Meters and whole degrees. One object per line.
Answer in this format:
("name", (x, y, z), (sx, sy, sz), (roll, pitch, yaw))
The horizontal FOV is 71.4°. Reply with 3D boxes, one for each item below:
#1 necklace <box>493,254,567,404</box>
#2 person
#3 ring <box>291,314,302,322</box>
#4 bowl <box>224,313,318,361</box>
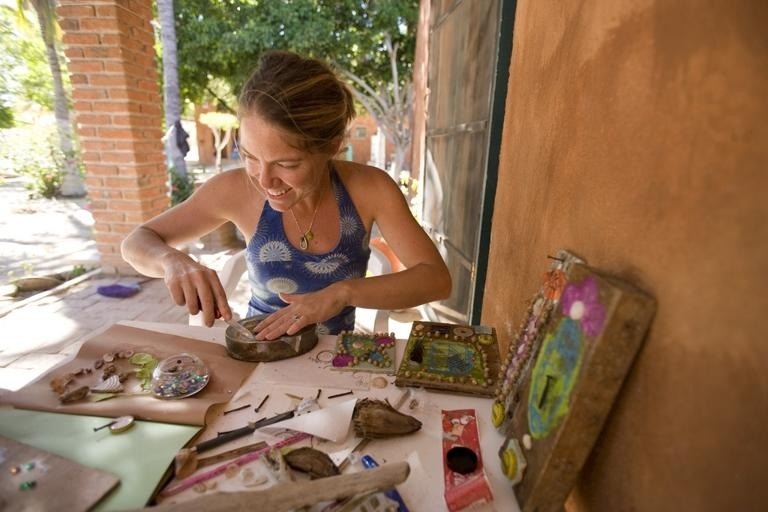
("necklace", (0.439, 0.212, 1.596), (0.187, 0.450, 0.172), (3, 15, -2))
("person", (-0.393, -0.213, 2.142), (1.088, 1.133, 0.846), (-7, 18, -33))
("ring", (-0.302, 0.215, 1.848), (0.018, 0.013, 0.043), (-2, -1, -28))
("bowl", (-0.412, 0.298, 1.936), (0.328, 0.080, 0.325), (0, 8, 0))
